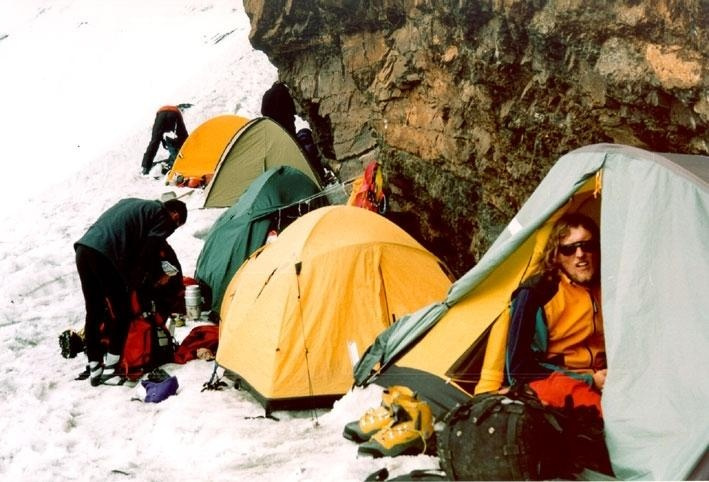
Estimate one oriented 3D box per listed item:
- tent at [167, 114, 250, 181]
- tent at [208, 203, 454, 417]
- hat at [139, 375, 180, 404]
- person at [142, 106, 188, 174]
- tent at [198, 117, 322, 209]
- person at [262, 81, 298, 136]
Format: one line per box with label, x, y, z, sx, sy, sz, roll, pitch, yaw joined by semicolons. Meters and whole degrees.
tent;-3.415;-2.179;17.727;1.634;1.138;1.661;-2;19;-17
tent;-0.411;0.884;9.968;2.761;1.482;2.641;-23;18;-22
hat;-2.538;1.928;9.991;0.431;0.216;0.364;-11;26;-4
person;-4.524;-2.399;18.570;1.157;1.694;0.490;8;24;-6
tent;-1.971;-1.713;16.559;2.031;1.434;2.095;4;15;16
person;-1.667;-2.949;17.136;1.074;1.143;0.410;5;6;-12
